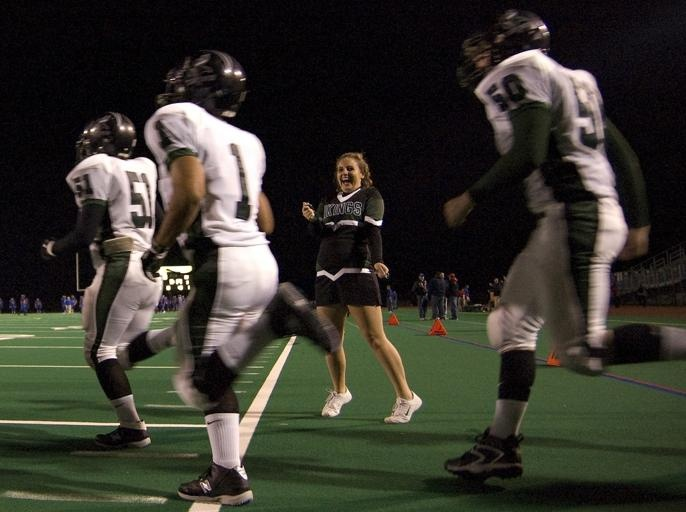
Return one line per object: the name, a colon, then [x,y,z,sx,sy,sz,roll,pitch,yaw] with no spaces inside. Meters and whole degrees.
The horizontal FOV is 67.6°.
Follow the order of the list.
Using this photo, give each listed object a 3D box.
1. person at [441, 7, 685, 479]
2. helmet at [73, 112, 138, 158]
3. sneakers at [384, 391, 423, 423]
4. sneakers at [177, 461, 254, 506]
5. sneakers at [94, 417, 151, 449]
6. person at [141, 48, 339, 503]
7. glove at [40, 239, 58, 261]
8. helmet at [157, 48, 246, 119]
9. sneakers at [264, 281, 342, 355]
person: [1.162,-0.057,2.804,1.206,2.648,0.604,1,1,9]
helmet: [-1.924,-0.923,4.058,0.449,0.379,0.329,-1,4,8]
sneakers: [0.518,1.308,4.391,0.309,0.225,0.171,0,1,-41]
sneakers: [-0.709,1.187,2.679,0.436,0.190,0.160,2,-19,6]
sneakers: [-1.565,1.311,3.731,0.435,0.185,0.157,4,-14,-7]
person: [-0.625,0.071,2.736,0.934,2.432,0.546,1,1,-11]
glove: [-2.188,-0.048,3.778,0.149,0.145,0.173,1,-6,-17]
helmet: [-0.796,-0.992,2.948,0.512,0.334,0.353,1,16,-8]
sneakers: [-0.215,0.326,2.698,0.443,0.241,0.167,25,-10,-1]
